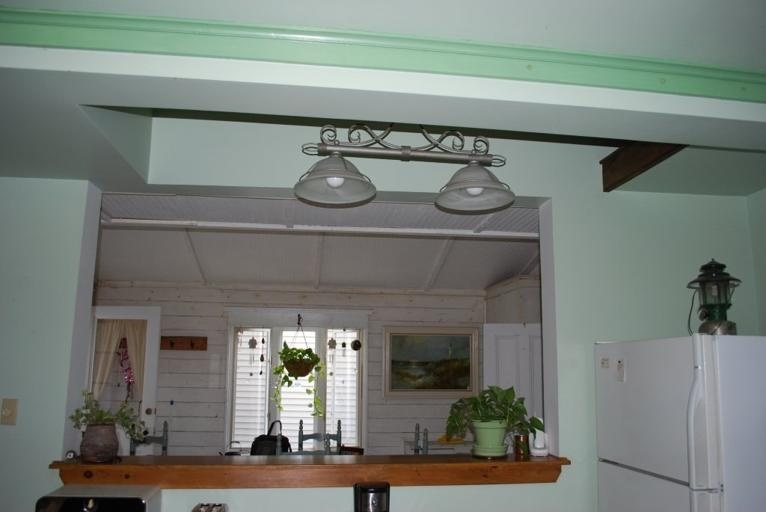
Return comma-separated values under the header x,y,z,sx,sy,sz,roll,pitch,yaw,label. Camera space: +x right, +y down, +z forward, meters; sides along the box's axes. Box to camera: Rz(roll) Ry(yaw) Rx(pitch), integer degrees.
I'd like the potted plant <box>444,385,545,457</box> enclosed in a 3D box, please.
x,y,z,sx,sy,sz,roll,pitch,yaw,label
0.762,1.115,4.261,0.576,0.391,0.441,-1,-18,8,potted plant

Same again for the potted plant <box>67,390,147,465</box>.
x,y,z,sx,sy,sz,roll,pitch,yaw,label
-1.773,1.071,3.992,0.316,0.390,0.375,-2,-9,-27,potted plant

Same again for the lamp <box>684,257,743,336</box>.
x,y,z,sx,sy,sz,roll,pitch,yaw,label
2.081,0.282,3.962,0.327,0.474,0.312,5,-10,-36,lamp

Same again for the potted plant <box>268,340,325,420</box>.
x,y,z,sx,sy,sz,roll,pitch,yaw,label
-0.825,1.213,6.352,0.529,0.624,0.363,8,-3,-11,potted plant
